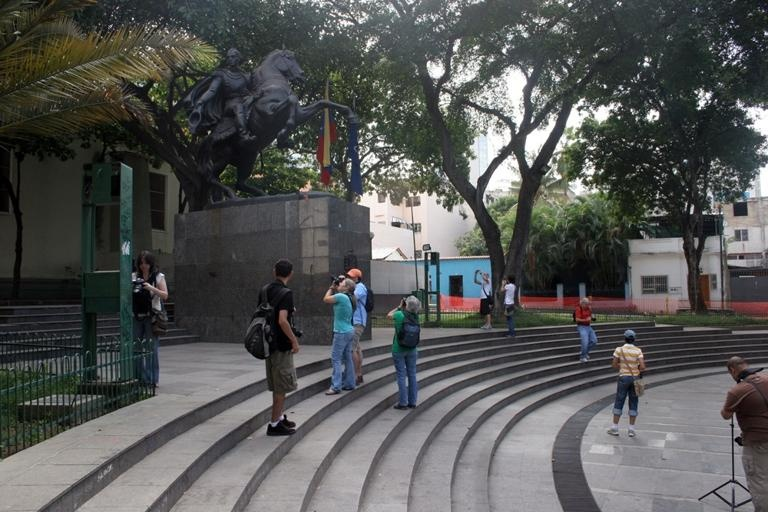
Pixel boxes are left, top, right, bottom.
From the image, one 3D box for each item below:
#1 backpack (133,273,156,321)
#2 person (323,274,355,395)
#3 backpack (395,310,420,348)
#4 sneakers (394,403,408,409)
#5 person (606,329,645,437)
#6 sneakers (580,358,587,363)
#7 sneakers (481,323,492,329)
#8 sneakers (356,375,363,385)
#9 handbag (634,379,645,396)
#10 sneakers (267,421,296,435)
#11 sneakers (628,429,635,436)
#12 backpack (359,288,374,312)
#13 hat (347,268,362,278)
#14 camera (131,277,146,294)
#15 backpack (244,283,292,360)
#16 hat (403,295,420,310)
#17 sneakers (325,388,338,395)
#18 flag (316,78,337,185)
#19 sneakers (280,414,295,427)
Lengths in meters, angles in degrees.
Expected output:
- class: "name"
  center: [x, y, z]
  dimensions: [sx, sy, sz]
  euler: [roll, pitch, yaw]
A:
- class: "backpack"
  center: [-4.278, 0.758, 10.795]
  dimensions: [0.451, 0.630, 0.230]
  euler: [2, 2, -7]
- class: "person"
  center: [-0.862, 1.564, 11.901]
  dimensions: [0.552, 2.265, 0.798]
  euler: [-1, -2, -4]
- class: "backpack"
  center: [0.475, 1.455, 12.079]
  dimensions: [0.466, 0.779, 0.788]
  euler: [10, -11, -7]
- class: "sneakers"
  center: [0.344, 2.997, 12.162]
  dimensions: [0.251, 0.118, 0.106]
  euler: [2, -1, 35]
- class: "person"
  center: [5.265, 2.725, 13.187]
  dimensions: [0.686, 2.272, 1.454]
  euler: [-1, -2, 21]
- class: "sneakers"
  center: [6.159, 3.213, 18.648]
  dimensions: [0.208, 0.099, 0.096]
  euler: [-2, 1, 7]
- class: "sneakers"
  center: [3.448, 2.388, 20.570]
  dimensions: [0.156, 0.202, 0.417]
  euler: [2, -5, -25]
- class: "sneakers"
  center: [-0.503, 2.579, 12.583]
  dimensions: [0.122, 0.169, 0.169]
  euler: [-4, -18, 16]
- class: "handbag"
  center: [5.311, 2.729, 12.594]
  dimensions: [0.140, 0.377, 0.253]
  euler: [-2, -2, 35]
- class: "sneakers"
  center: [-1.680, 2.794, 9.870]
  dimensions: [0.475, 0.240, 0.192]
  euler: [0, -5, -4]
- class: "sneakers"
  center: [5.305, 3.777, 12.936]
  dimensions: [0.081, 0.114, 0.259]
  euler: [-3, -15, 11]
- class: "backpack"
  center: [-0.383, 0.943, 12.934]
  dimensions: [0.330, 0.693, 0.482]
  euler: [0, -2, 4]
- class: "hat"
  center: [-0.603, 0.387, 12.334]
  dimensions: [0.258, 0.140, 0.187]
  euler: [12, 0, -16]
- class: "camera"
  center: [-4.321, 0.530, 10.623]
  dimensions: [0.265, 0.219, 0.164]
  euler: [-5, -12, -3]
- class: "backpack"
  center: [-1.841, 1.060, 9.524]
  dimensions: [0.656, 1.120, 0.363]
  euler: [-1, -2, -11]
- class: "hat"
  center: [0.550, 0.892, 11.734]
  dimensions: [0.204, 0.292, 0.256]
  euler: [9, -36, -20]
- class: "sneakers"
  center: [-1.035, 2.649, 11.862]
  dimensions: [0.222, 0.102, 0.107]
  euler: [4, -8, -13]
- class: "flag"
  center: [-1.772, -3.610, 17.547]
  dimensions: [0.544, 3.362, 0.448]
  euler: [5, -10, -19]
- class: "sneakers"
  center: [-1.544, 2.694, 9.937]
  dimensions: [0.312, 0.231, 0.107]
  euler: [1, -2, -14]
